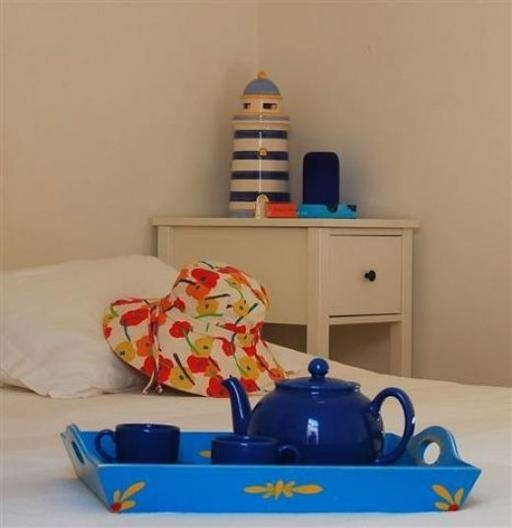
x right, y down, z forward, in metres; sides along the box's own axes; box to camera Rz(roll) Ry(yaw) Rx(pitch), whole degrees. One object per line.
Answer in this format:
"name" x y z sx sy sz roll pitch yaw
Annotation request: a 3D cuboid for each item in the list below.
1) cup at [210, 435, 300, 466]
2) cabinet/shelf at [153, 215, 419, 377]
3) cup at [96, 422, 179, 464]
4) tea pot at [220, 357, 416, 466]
"cup" -0.006 0.158 0.575 0.048 0.022 0.034 4 -7 9
"cabinet/shelf" 0.127 0.207 2.080 0.560 0.623 0.419 -2 -1 45
"cup" -0.101 0.152 0.610 0.058 0.025 0.043 0 1 -7
"tea pot" 0.049 0.135 0.638 0.171 0.091 0.134 1 -4 -3
